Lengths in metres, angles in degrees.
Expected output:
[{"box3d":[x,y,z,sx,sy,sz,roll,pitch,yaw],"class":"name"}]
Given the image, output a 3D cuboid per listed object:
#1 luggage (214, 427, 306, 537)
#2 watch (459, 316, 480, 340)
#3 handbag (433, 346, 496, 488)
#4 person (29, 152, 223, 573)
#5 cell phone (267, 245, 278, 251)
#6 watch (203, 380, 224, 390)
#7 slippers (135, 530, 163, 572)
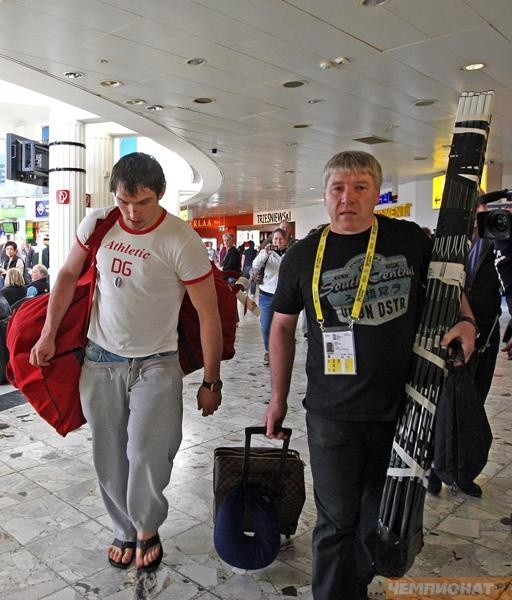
[{"box3d":[0.018,0.700,1.918,0.375,0.499,0.201,5,16,-6],"class":"luggage"},{"box3d":[0.623,0.078,1.420,0.062,0.068,0.027,-4,-25,23],"class":"watch"},{"box3d":[0.574,0.366,1.370,0.153,0.381,0.208,1,3,21],"class":"handbag"},{"box3d":[-0.399,0.252,1.870,0.521,1.594,0.297,-1,3,-18],"class":"person"},{"box3d":[0.193,-0.687,6.278,0.087,0.080,0.157,-9,1,-10],"class":"cell phone"},{"box3d":[-0.161,0.329,1.882,0.071,0.037,0.064,1,-3,-40],"class":"watch"},{"box3d":[-0.415,0.979,1.895,0.069,0.047,0.164,-2,28,-10],"class":"slippers"}]
